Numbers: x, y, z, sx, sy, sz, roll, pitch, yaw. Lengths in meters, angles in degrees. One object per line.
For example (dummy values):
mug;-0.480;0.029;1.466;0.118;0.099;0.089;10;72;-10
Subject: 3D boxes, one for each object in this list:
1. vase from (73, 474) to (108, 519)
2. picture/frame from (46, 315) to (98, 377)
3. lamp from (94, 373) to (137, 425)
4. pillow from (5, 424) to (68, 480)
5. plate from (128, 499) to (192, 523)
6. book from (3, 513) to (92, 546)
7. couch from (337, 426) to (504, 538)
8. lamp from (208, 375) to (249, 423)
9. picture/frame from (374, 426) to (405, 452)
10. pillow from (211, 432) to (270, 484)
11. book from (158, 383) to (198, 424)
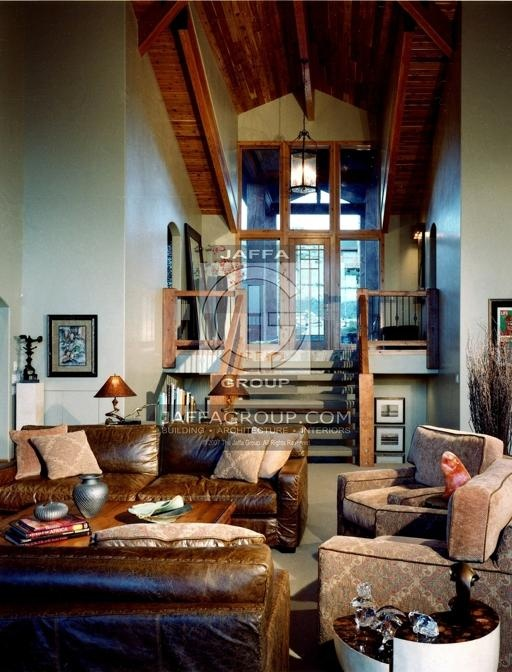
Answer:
vase;-0.889;0.868;3.110;0.186;0.249;0.207;-4;-13;21
picture/frame;-1.871;0.120;5.860;0.553;0.789;0.055;0;0;3
lamp;-1.327;0.620;5.436;0.319;0.499;0.929;0;-1;-12
pillow;-1.734;0.882;4.364;0.327;0.356;0.106;-2;-23;-2
plate;-0.499;0.935;3.058;0.339;0.069;0.341;0;-1;-16
book;-1.004;0.926;2.716;0.207;0.056;0.222;1;-1;8
couch;1.008;0.935;3.445;0.808;0.926;0.822;3;-7;-12
lamp;-0.364;0.761;7.346;0.422;0.613;0.597;-1;-2;3
picture/frame;1.914;1.509;8.313;0.368;0.345;0.032;0;-6;-3
pillow;-0.092;0.893;4.243;0.339;0.349;0.106;1;-26;41
book;-0.962;0.848;6.885;0.338;0.681;0.649;-3;-6;20
